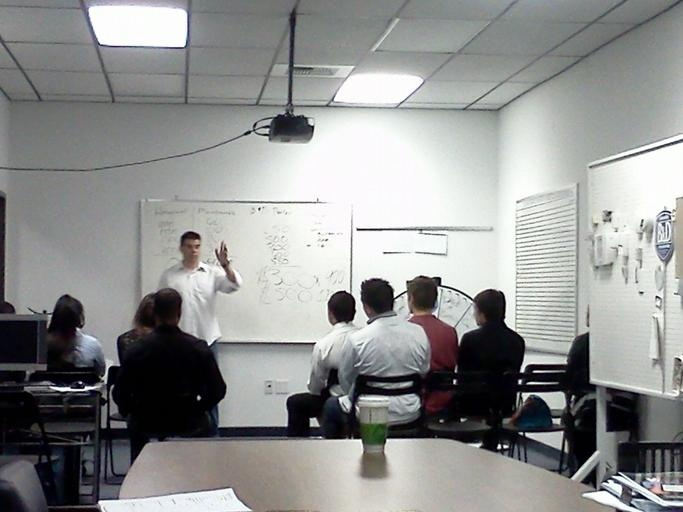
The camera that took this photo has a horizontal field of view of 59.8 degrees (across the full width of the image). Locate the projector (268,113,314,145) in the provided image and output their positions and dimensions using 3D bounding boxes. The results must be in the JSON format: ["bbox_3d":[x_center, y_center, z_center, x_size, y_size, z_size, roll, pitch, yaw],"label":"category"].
[{"bbox_3d":[-0.410,-1.022,4.770,0.307,0.233,0.279,-2,0,-18],"label":"projector"}]

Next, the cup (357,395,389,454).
[{"bbox_3d":[0.118,0.640,2.260,0.159,0.263,0.172,0,-6,0],"label":"cup"}]
